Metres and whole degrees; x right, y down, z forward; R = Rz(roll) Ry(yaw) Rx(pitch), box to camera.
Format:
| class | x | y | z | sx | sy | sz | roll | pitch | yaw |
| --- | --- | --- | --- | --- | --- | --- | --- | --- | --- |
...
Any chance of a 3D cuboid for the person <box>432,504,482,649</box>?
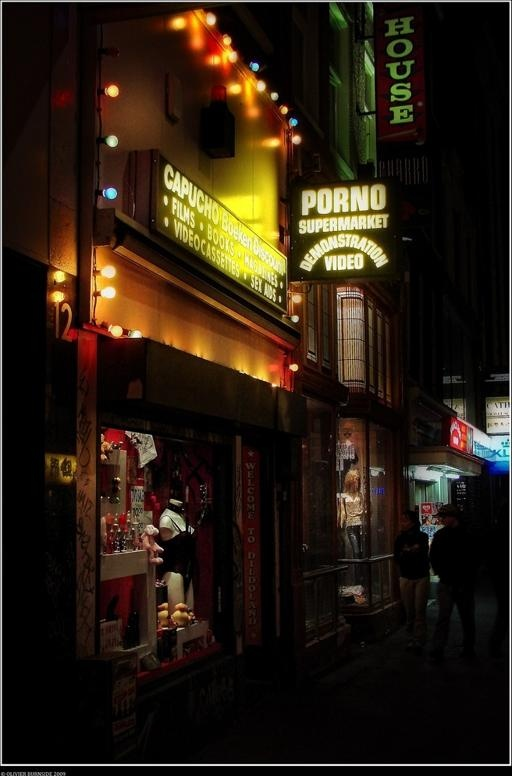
| class | x | y | z | sx | sy | sz | roll | pitch | yaw |
| --- | --- | --- | --- | --- | --- | --- | --- | --- | --- |
| person | 2.690 | 2.635 | 10.090 | 0.408 | 2.355 | 0.542 | 0 | 12 | 18 |

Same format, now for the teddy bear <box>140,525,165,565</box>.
| class | x | y | z | sx | sy | sz | roll | pitch | yaw |
| --- | --- | --- | --- | --- | --- | --- | --- | --- | --- |
| teddy bear | -0.785 | 1.180 | 5.548 | 0.151 | 0.287 | 0.419 | 0 | -9 | -8 |

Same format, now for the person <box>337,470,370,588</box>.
| class | x | y | z | sx | sy | sz | roll | pitch | yaw |
| --- | --- | --- | --- | --- | --- | --- | --- | --- | --- |
| person | 1.661 | 2.188 | 12.906 | 0.663 | 1.565 | 0.193 | 4 | -7 | -38 |

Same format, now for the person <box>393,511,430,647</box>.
| class | x | y | z | sx | sy | sz | roll | pitch | yaw |
| --- | --- | --- | --- | --- | --- | --- | --- | --- | --- |
| person | 2.398 | 2.928 | 11.246 | 0.381 | 2.064 | 0.638 | 4 | -8 | -40 |
